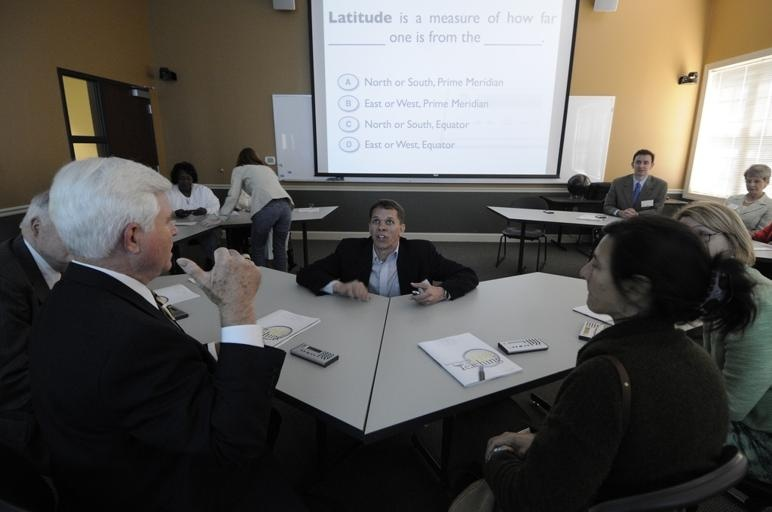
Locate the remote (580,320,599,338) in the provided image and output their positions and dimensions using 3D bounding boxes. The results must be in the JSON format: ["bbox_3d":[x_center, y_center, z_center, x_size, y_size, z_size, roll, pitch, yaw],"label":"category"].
[{"bbox_3d":[1.022,0.371,2.448,0.081,0.027,0.107,7,20,41],"label":"remote"}]

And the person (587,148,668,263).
[{"bbox_3d":[2.751,-0.633,5.432,0.787,1.041,0.670,-4,14,-38],"label":"person"}]

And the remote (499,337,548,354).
[{"bbox_3d":[0.653,0.433,2.321,0.149,0.027,0.092,-4,18,-7],"label":"remote"}]

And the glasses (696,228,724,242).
[{"bbox_3d":[1.532,-0.097,2.293,0.074,0.026,0.074,11,11,-6],"label":"glasses"}]

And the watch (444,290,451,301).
[{"bbox_3d":[0.350,0.234,2.799,0.041,0.023,0.053,27,7,-40],"label":"watch"}]

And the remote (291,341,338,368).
[{"bbox_3d":[-0.340,0.465,2.263,0.231,0.049,0.101,8,18,24],"label":"remote"}]
